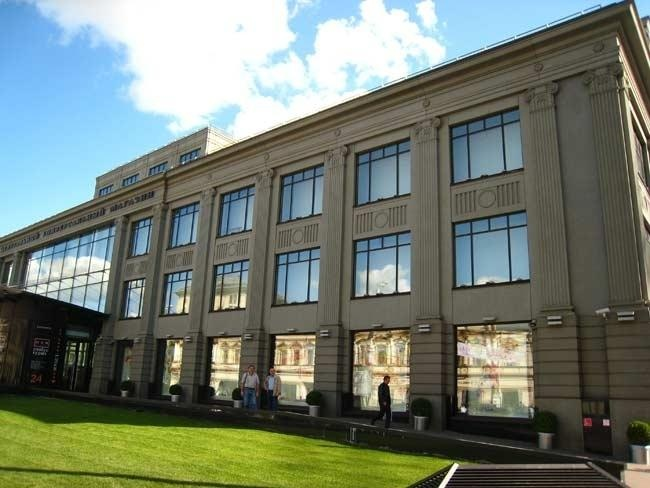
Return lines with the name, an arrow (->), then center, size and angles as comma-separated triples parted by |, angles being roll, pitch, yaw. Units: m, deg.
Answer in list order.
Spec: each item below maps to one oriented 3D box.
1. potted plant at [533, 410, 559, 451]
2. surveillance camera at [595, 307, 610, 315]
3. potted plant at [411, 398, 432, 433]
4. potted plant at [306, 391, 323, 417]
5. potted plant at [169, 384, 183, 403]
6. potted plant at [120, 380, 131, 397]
potted plant -> 8.503, 7.093, 17.714 | 0.885, 1.334, 0.560 | 8, -14, -18
surveillance camera -> 10.631, 2.589, 17.733 | 0.315, 0.217, 0.443 | 3, -12, -11
potted plant -> 4.274, 7.465, 20.347 | 0.915, 1.322, 0.602 | 2, -14, 4
potted plant -> -0.501, 8.301, 24.038 | 1.037, 1.519, 1.138 | 2, -15, -2
potted plant -> -9.622, 9.717, 30.138 | 1.001, 1.380, 0.999 | 4, -10, -28
potted plant -> -14.225, 10.382, 33.169 | 0.926, 1.055, 0.619 | -10, -18, 42
